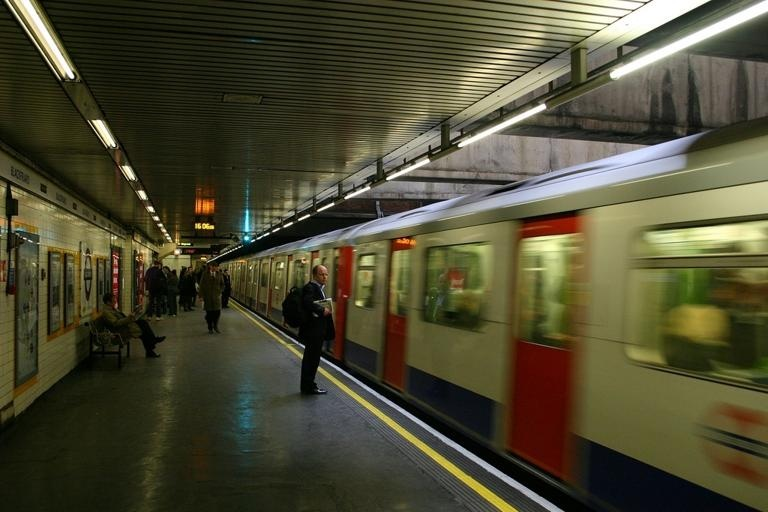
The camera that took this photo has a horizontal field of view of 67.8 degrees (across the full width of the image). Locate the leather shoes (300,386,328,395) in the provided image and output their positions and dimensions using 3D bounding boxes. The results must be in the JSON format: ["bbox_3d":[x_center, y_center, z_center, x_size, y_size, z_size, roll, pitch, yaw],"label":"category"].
[{"bbox_3d":[-1.177,2.202,9.454,0.470,0.142,0.138,-2,-1,-8],"label":"leather shoes"}]

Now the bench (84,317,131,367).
[{"bbox_3d":[-5.872,1.800,12.131,0.521,0.518,1.194,0,-3,-13],"label":"bench"}]
